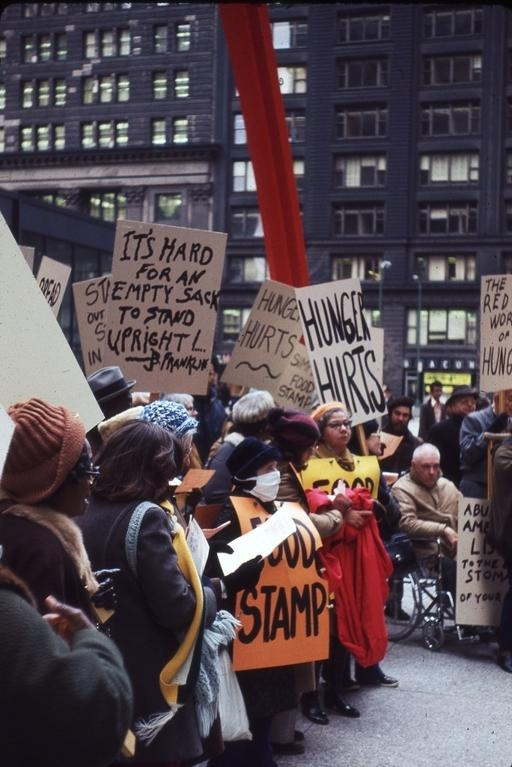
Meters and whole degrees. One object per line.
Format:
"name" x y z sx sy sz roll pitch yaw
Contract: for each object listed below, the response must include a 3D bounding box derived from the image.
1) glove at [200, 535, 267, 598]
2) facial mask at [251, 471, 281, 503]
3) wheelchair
"glove" -0.089 0.775 4.609 0.277 0.090 0.192 -5 16 -43
"facial mask" 0.060 0.459 4.959 0.150 0.089 0.126 1 6 15
"wheelchair" 1.210 1.412 7.609 0.958 1.067 0.644 -3 -4 32
